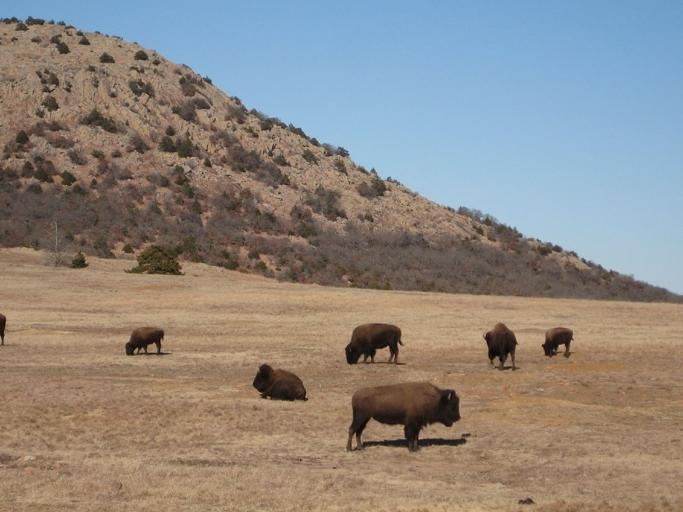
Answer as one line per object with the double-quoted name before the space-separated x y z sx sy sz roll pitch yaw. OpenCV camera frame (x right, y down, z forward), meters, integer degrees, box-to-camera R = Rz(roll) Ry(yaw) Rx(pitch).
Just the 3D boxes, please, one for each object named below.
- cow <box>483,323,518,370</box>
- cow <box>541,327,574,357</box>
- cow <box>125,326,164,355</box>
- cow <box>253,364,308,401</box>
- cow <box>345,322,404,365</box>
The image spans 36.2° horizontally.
"cow" 8.745 4.916 56.989 1.610 2.575 2.474 3 12 9
"cow" 12.591 5.052 61.055 1.569 1.731 2.015 4 12 12
"cow" -11.040 4.777 58.411 2.029 1.501 1.357 -2 12 -17
"cow" -3.027 6.275 51.037 2.663 1.362 1.113 6 12 21
"cow" 2.407 4.723 57.693 4.259 2.853 1.478 1 -5 -2
